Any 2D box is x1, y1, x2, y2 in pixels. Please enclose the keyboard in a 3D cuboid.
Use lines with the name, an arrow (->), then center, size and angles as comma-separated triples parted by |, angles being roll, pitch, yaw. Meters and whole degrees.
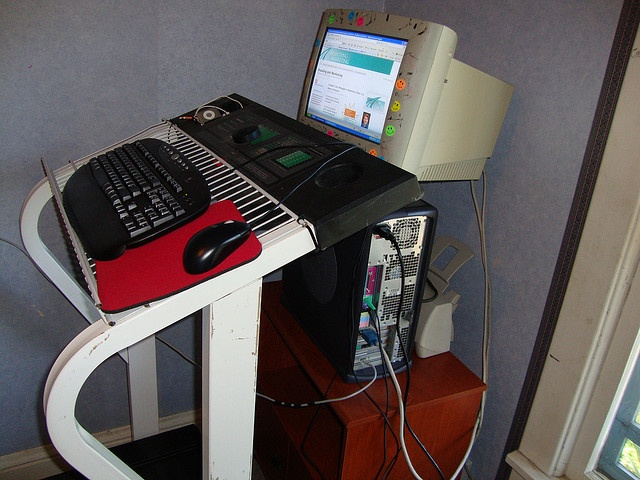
keyboard -> -0.470, -0.122, 1.321 | 0.316, 0.149, 0.448 | -9, 29, -26

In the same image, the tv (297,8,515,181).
tv -> 0.253, -0.411, 1.644 | 0.448, 0.501, 0.705 | -12, 30, -36
